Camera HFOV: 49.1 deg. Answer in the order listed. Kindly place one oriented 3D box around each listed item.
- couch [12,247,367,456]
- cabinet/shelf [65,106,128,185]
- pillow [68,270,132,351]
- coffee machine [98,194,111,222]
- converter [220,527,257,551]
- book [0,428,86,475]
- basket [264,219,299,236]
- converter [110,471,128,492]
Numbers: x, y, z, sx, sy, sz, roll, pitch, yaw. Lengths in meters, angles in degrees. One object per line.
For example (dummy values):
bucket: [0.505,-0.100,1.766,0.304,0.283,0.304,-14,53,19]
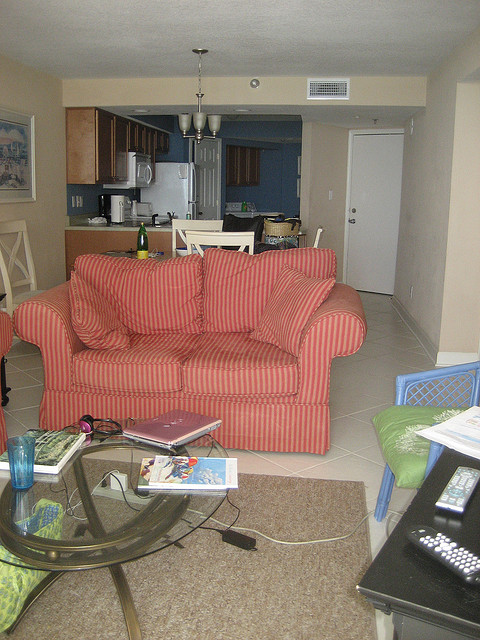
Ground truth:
couch: [-0.207,0.140,2.808,1.650,0.952,0.700,2,10,8]
cabinet/shelf: [-1.568,-1.949,5.985,0.326,0.773,0.843,7,17,9]
pillow: [-0.748,-0.018,2.704,0.120,0.387,0.379,-25,-19,20]
coffee machine: [-1.670,-1.400,6.482,0.135,0.307,0.192,-4,11,-19]
converter: [-0.007,0.769,1.844,0.091,0.018,0.046,11,12,17]
book: [-0.561,0.384,1.529,0.228,0.032,0.323,1,7,5]
basket: [0.384,-0.835,4.774,0.311,0.151,0.246,0,10,1]
converter: [-0.336,0.448,1.465,0.053,0.052,0.028,5,9,14]
